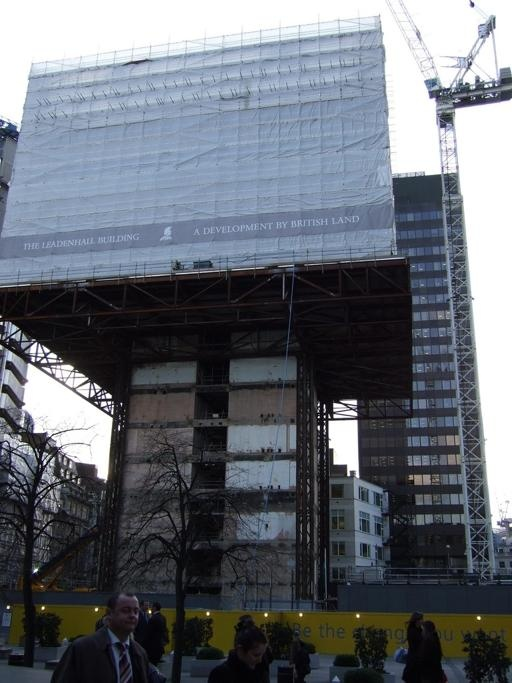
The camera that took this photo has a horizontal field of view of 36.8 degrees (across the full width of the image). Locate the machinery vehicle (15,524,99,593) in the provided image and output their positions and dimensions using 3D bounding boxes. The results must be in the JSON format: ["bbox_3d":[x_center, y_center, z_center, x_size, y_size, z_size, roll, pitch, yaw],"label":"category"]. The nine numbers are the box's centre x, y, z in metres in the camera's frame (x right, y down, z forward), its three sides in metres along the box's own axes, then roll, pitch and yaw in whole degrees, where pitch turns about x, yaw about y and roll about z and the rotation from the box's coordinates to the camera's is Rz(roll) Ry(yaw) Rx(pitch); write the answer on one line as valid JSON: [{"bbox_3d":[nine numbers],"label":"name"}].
[{"bbox_3d":[-13.790,16.631,55.236,1.697,2.650,9.865,9,-36,-41],"label":"machinery vehicle"}]
